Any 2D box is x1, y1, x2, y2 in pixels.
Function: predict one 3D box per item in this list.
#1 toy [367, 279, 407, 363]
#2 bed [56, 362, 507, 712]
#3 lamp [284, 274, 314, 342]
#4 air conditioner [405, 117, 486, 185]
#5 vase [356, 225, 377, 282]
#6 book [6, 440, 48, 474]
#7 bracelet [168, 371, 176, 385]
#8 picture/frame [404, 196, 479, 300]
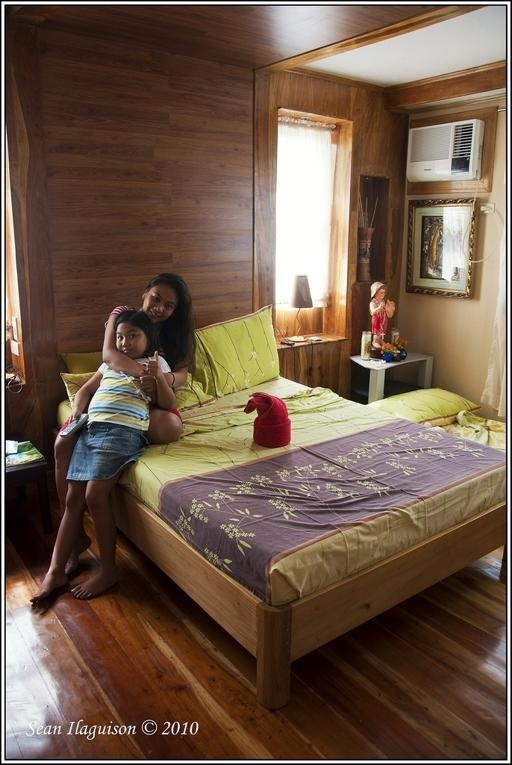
[{"bbox_3d":[1.057,-0.492,4.117,0.276,0.631,0.334,2,7,15],"label":"toy"},{"bbox_3d":[0.187,0.549,2.160,1.214,0.538,1.165,-5,9,-36],"label":"bed"},{"bbox_3d":[0.354,-0.587,3.961,0.137,0.468,0.420,1,7,5],"label":"lamp"},{"bbox_3d":[1.465,-1.784,3.912,0.114,0.382,0.588,-8,18,-26],"label":"air conditioner"},{"bbox_3d":[0.919,-1.089,4.348,0.084,0.468,0.180,7,10,44],"label":"vase"},{"bbox_3d":[-1.108,0.357,2.447,0.155,0.037,0.155,-9,22,-35],"label":"book"},{"bbox_3d":[-0.411,-0.016,2.542,0.047,0.049,0.047,-7,12,-45],"label":"bracelet"},{"bbox_3d":[1.528,-1.125,4.173,0.069,0.931,0.758,-7,14,-27],"label":"picture/frame"}]
